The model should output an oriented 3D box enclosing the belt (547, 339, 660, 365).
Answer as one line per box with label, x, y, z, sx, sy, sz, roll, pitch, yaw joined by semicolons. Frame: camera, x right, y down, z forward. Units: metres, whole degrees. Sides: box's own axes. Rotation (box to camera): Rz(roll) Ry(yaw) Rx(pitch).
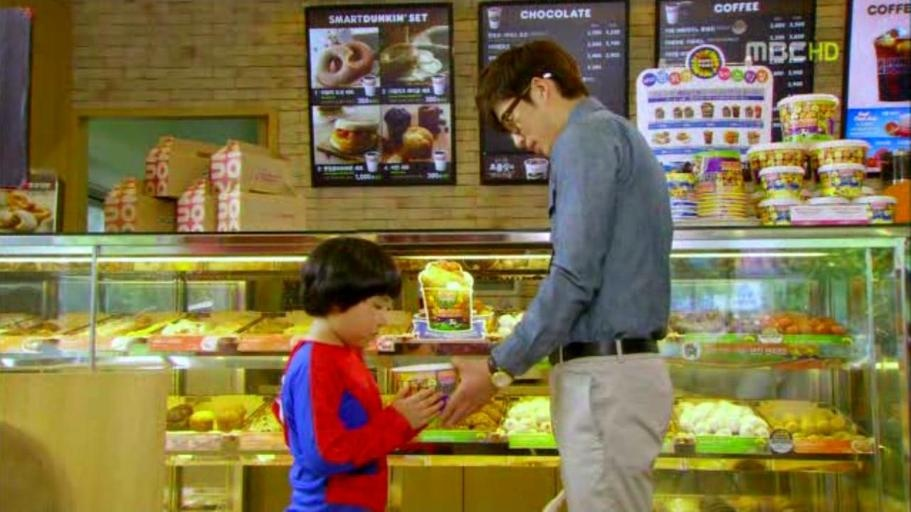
belt;0.823;0.500;5.247;0.511;0.109;0.075;-1;0;6
